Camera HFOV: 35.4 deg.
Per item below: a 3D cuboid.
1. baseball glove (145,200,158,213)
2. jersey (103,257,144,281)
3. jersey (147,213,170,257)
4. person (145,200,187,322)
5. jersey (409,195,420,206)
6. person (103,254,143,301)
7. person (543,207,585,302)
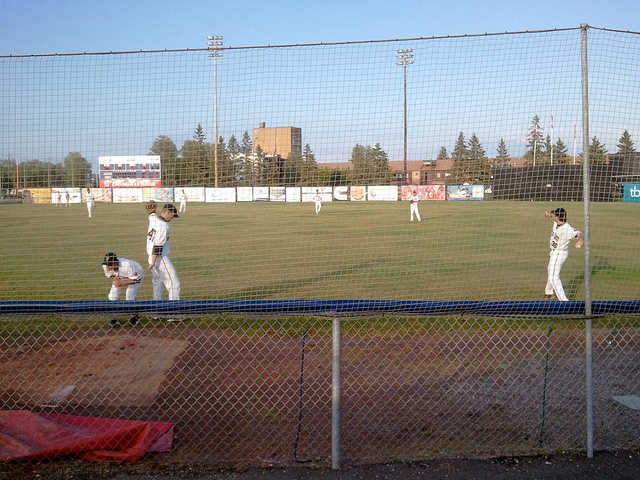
[{"bbox_3d":[-2.626,-0.531,15.890,0.182,0.219,0.279,-7,10,-40],"label":"baseball glove"},{"bbox_3d":[-2.991,0.488,15.823,0.370,0.180,0.440,16,8,36],"label":"jersey"},{"bbox_3d":[-2.551,-0.076,15.874,0.331,0.676,0.357,-2,7,-11],"label":"jersey"},{"bbox_3d":[-2.488,0.159,15.920,0.508,1.634,0.626,-2,7,-9],"label":"person"},{"bbox_3d":[1.430,-0.629,15.073,0.113,0.061,0.153,8,-33,19],"label":"jersey"},{"bbox_3d":[-3.199,0.644,16.290,0.385,0.796,0.534,19,30,16],"label":"person"},{"bbox_3d":[4.240,0.289,17.427,0.404,1.563,1.175,-1,12,6],"label":"person"}]
